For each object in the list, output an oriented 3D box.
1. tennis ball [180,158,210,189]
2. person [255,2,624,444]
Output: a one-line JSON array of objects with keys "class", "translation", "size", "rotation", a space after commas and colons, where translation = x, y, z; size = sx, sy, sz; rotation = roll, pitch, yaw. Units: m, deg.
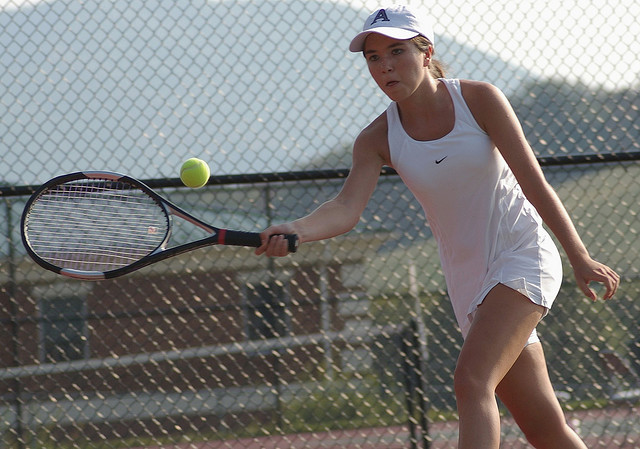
[{"class": "tennis ball", "translation": [-0.803, -0.291, 6.613], "size": [0.196, 0.239, 0.235], "rotation": [-1, 25, -11]}, {"class": "person", "translation": [0.791, 0.023, 5.812], "size": [1.498, 2.382, 0.824], "rotation": [9, 23, 39]}]
